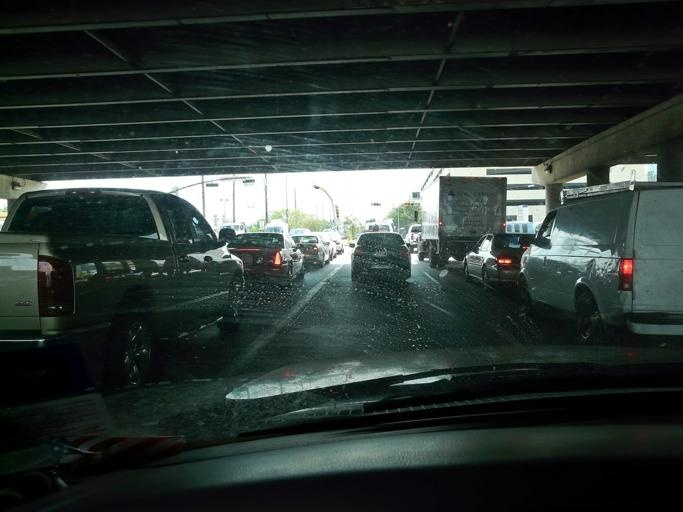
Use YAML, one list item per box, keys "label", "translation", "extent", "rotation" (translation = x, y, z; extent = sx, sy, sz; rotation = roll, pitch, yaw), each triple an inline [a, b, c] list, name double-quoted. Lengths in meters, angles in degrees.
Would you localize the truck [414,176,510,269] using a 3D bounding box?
- label: "truck"
  translation: [4.883, -1.716, 26.980]
  extent: [2.695, 2.590, 5.309]
  rotation: [1, 3, -3]
